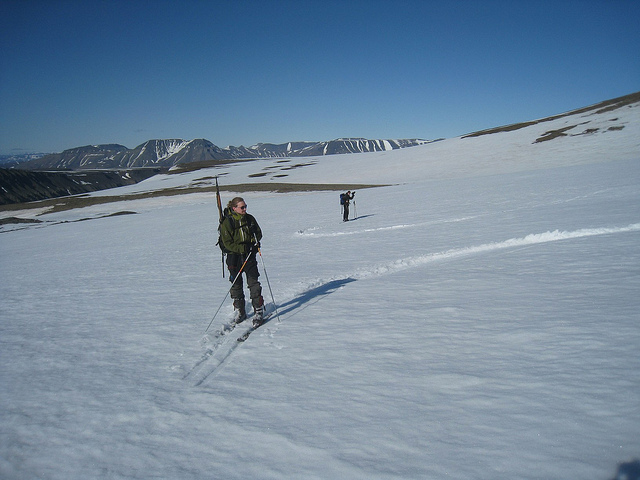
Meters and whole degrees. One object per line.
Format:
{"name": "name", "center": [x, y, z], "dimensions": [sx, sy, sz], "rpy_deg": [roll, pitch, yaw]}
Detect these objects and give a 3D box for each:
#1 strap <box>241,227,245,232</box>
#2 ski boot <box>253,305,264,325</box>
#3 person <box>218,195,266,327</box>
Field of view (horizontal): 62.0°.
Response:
{"name": "strap", "center": [-1.958, -0.272, 13.562], "dimensions": [0.072, 0.100, 0.023], "rpy_deg": [-11, 11, -31]}
{"name": "ski boot", "center": [-1.611, 1.957, 13.714], "dimensions": [0.256, 0.466, 0.251], "rpy_deg": [-5, 10, 4]}
{"name": "person", "center": [-1.972, 0.544, 13.705], "dimensions": [1.074, 3.288, 0.713], "rpy_deg": [-8, 11, -6]}
